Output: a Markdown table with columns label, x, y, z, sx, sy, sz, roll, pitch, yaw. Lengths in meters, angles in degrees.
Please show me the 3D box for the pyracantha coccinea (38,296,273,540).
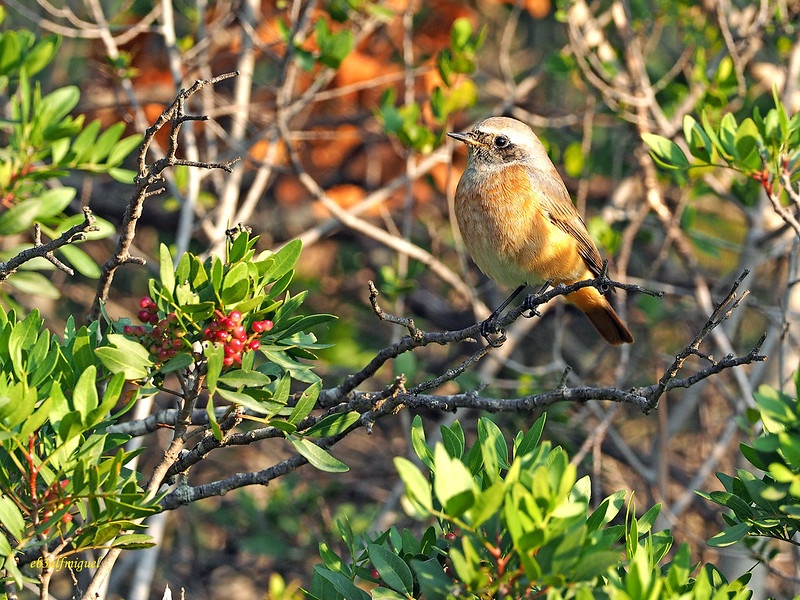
| label | x | y | z | sx | sy | sz | roll | pitch | yaw |
| --- | --- | --- | --- | --- | --- | --- | --- | --- | --- |
| pyracantha coccinea | -1.063 | 0.278 | 5.124 | 0.596 | 0.759 | 0.692 | 39 | 40 | 10 |
